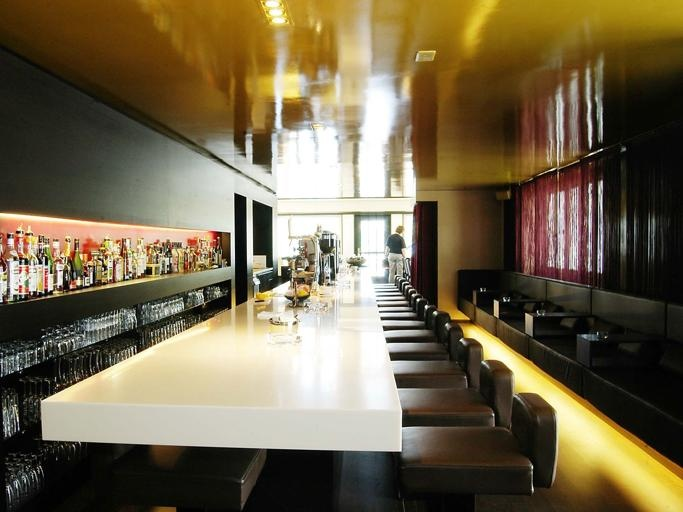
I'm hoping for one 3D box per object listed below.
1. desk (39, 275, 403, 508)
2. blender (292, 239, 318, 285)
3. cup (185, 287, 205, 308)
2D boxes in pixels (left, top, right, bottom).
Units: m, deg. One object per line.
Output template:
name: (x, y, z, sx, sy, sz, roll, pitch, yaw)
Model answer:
desk: (-0.443, 1.014, 3.058, 1.590, 1.103, 1.756, 4, 10, 8)
blender: (-0.362, 0.068, 5.029, 0.282, 0.494, 0.312, 1, 1, -25)
cup: (-1.541, 0.430, 5.362, 0.191, 0.096, 0.275, 1, 7, -6)
